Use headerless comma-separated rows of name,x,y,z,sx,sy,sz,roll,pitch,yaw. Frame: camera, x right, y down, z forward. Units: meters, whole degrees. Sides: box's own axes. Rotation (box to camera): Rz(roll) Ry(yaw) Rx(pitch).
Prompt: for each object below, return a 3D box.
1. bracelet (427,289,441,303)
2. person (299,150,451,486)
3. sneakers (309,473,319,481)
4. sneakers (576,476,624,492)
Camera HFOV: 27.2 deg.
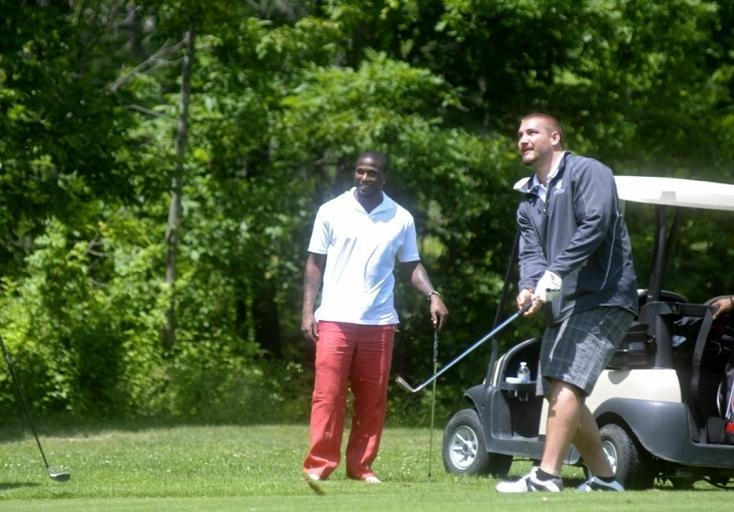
bracelet,0.715,0.409,15.907,0.164,0.187,0.077,5,2,-12
person,-0.062,0.620,15.746,1.194,3.383,0.427,2,-3,0
sneakers,-0.540,2.250,15.542,0.121,0.052,0.096,1,-3,14
sneakers,2.315,2.210,14.827,0.471,0.184,0.176,2,-5,8
